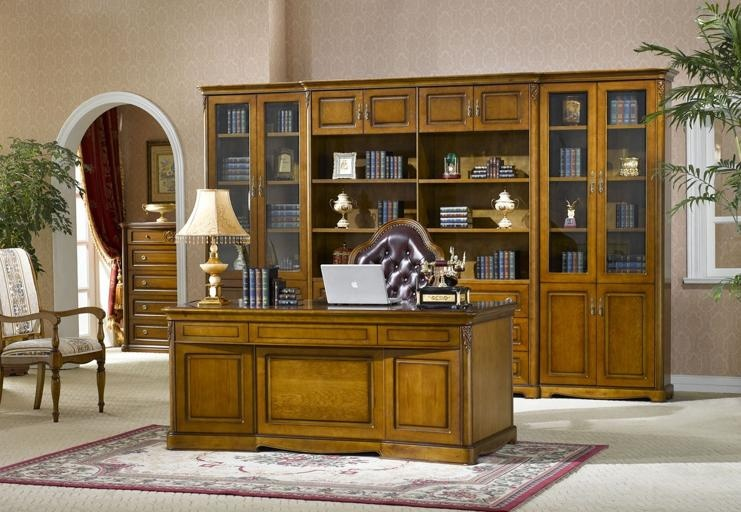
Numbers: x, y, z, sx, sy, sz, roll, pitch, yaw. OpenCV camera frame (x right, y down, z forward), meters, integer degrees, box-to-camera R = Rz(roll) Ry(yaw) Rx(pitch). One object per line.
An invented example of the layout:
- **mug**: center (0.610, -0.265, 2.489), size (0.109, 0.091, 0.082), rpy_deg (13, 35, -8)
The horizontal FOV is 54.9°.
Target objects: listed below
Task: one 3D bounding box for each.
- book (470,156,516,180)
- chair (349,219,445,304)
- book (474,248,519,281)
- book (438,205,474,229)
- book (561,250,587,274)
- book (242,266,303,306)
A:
- **book**: center (1.223, -0.862, 7.033), size (0.431, 0.219, 0.185), rpy_deg (-1, -1, 8)
- **chair**: center (0.242, 0.003, 5.850), size (0.750, 0.953, 0.668), rpy_deg (0, 0, 18)
- **book**: center (1.222, 0.084, 6.973), size (0.428, 0.266, 0.186), rpy_deg (-1, -2, 24)
- **book**: center (0.855, -0.378, 7.135), size (0.360, 0.253, 0.194), rpy_deg (-1, 0, 16)
- **book**: center (1.922, 0.058, 6.768), size (0.256, 0.244, 0.186), rpy_deg (0, -2, 14)
- **book**: center (-0.726, 0.264, 5.299), size (0.387, 0.359, 0.279), rpy_deg (0, -7, -10)
